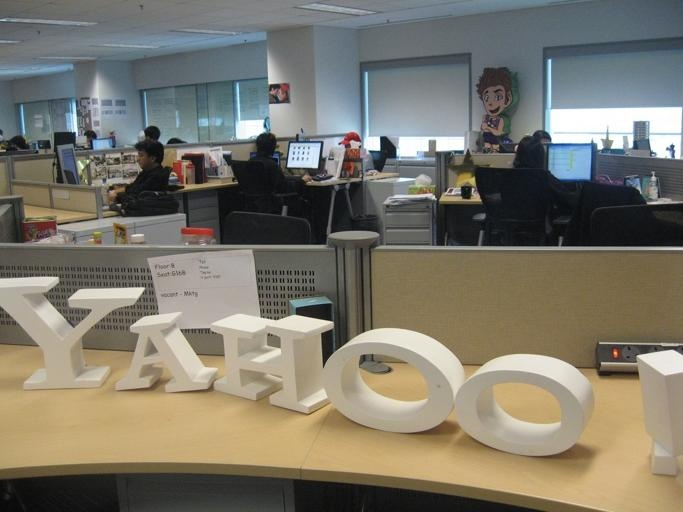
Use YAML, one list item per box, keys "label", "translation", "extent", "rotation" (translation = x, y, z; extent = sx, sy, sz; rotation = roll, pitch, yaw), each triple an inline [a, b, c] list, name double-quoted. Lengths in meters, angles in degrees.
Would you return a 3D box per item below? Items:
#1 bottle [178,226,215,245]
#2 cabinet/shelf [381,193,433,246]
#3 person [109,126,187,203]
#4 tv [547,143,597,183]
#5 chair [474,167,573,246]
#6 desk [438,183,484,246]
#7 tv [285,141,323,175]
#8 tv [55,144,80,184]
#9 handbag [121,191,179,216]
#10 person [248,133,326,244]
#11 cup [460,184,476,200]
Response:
- label: "bottle"
  translation: [-0.493, -0.068, 1.963]
  extent: [0.087, 0.057, 0.189]
  rotation: [-11, 16, -31]
- label: "cabinet/shelf"
  translation: [0.585, -0.316, 4.970]
  extent: [0.468, 0.712, 0.480]
  rotation: [0, 3, 6]
- label: "person"
  translation: [-1.706, -0.799, 5.193]
  extent: [0.731, 1.005, 0.631]
  rotation: [0, 7, -19]
- label: "tv"
  translation: [2.051, -0.836, 5.008]
  extent: [0.499, 0.453, 0.195]
  rotation: [6, 13, 30]
- label: "chair"
  translation: [1.360, -0.406, 4.475]
  extent: [0.663, 0.886, 0.643]
  rotation: [2, 19, 18]
- label: "desk"
  translation: [1.054, -0.360, 5.090]
  extent: [0.500, 0.508, 0.515]
  rotation: [1, 11, 8]
- label: "tv"
  translation: [-0.459, -1.247, 7.100]
  extent: [0.438, 0.338, 0.059]
  rotation: [4, 3, 31]
- label: "tv"
  translation: [-2.497, -0.854, 5.209]
  extent: [0.133, 0.345, 0.243]
  rotation: [2, 14, 19]
- label: "handbag"
  translation: [-1.521, -0.420, 4.473]
  extent: [0.413, 0.174, 0.429]
  rotation: [-7, 15, -19]
- label: "person"
  translation: [-0.542, -0.964, 6.725]
  extent: [0.687, 1.174, 0.685]
  rotation: [3, -12, 8]
- label: "cup"
  translation: [1.088, -0.565, 4.920]
  extent: [0.128, 0.108, 0.132]
  rotation: [0, 6, 0]
